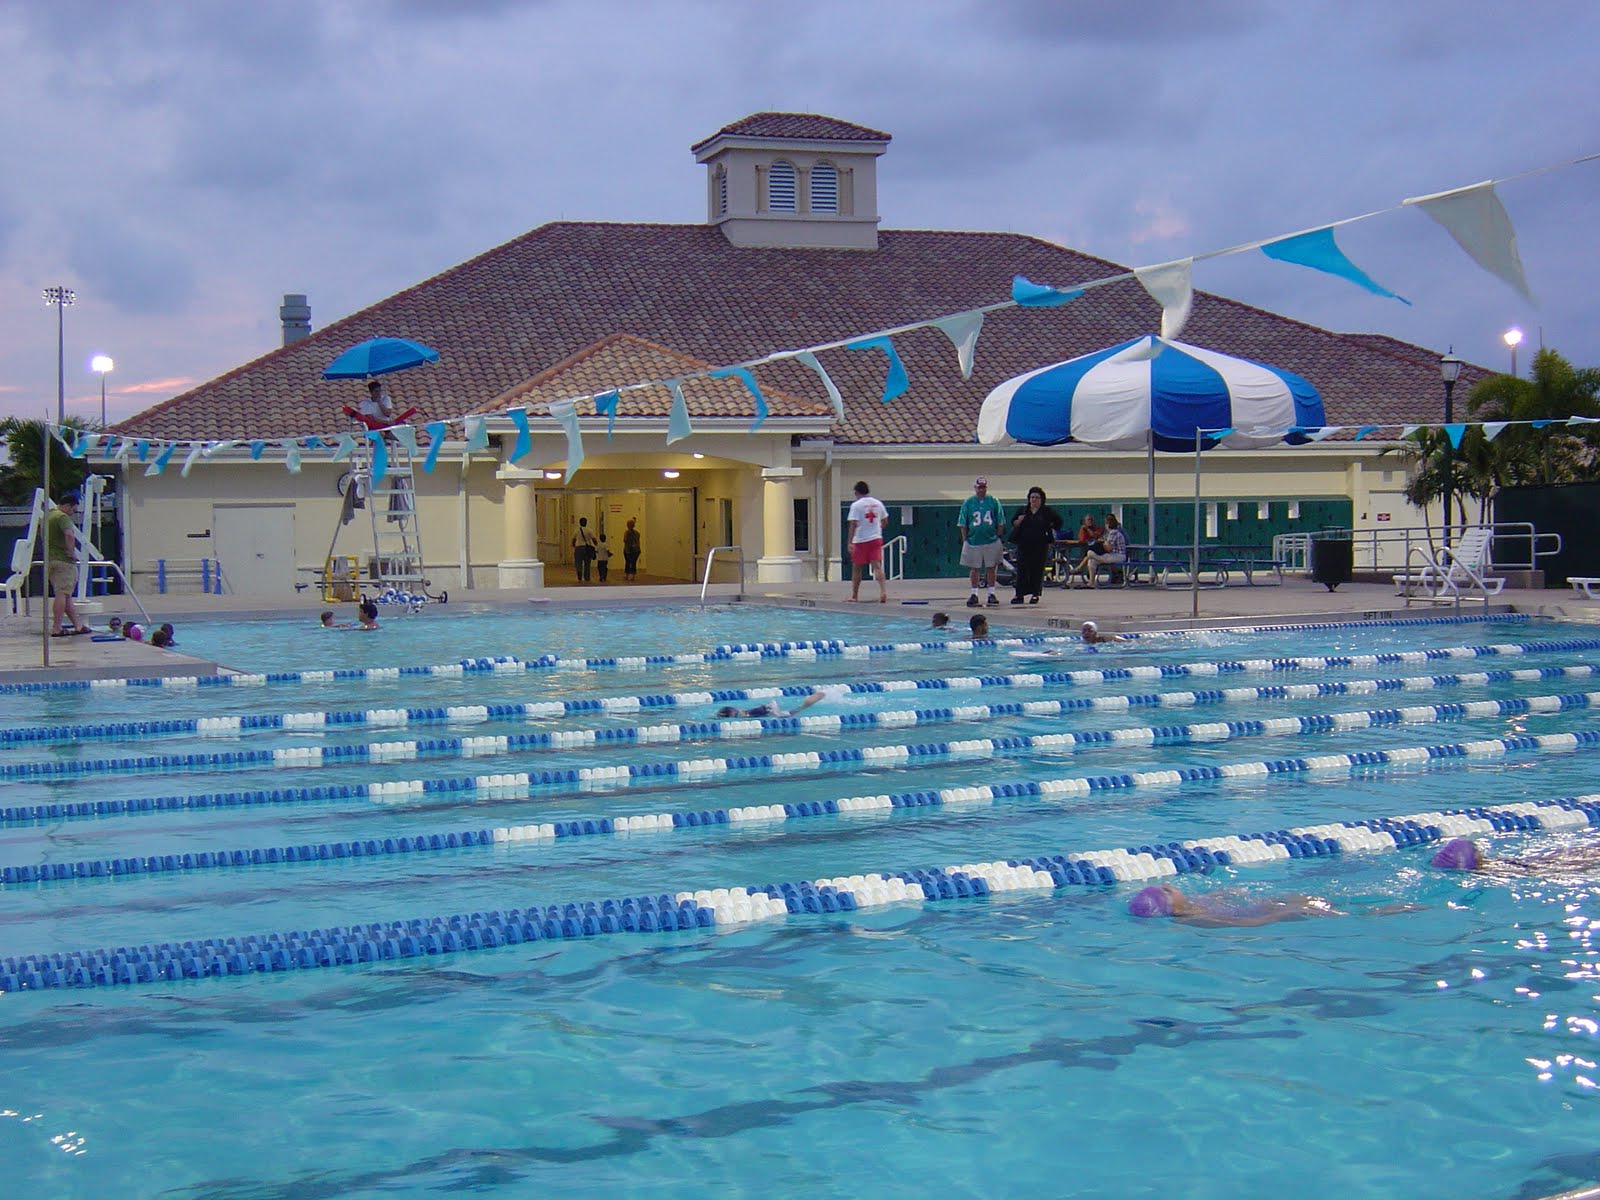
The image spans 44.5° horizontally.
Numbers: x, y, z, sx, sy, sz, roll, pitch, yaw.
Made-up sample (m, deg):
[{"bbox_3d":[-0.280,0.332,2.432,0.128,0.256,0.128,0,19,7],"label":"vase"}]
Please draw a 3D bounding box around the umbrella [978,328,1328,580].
[{"bbox_3d":[3.814,-1.671,22.345,3.272,1.727,2.970,-3,4,-19],"label":"umbrella"}]

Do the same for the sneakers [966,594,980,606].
[{"bbox_3d":[1.984,-0.007,22.560,0.141,0.123,0.142,2,2,-5],"label":"sneakers"}]

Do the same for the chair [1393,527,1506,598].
[{"bbox_3d":[7.600,-0.336,22.701,1.158,0.675,2.038,1,4,36],"label":"chair"}]
